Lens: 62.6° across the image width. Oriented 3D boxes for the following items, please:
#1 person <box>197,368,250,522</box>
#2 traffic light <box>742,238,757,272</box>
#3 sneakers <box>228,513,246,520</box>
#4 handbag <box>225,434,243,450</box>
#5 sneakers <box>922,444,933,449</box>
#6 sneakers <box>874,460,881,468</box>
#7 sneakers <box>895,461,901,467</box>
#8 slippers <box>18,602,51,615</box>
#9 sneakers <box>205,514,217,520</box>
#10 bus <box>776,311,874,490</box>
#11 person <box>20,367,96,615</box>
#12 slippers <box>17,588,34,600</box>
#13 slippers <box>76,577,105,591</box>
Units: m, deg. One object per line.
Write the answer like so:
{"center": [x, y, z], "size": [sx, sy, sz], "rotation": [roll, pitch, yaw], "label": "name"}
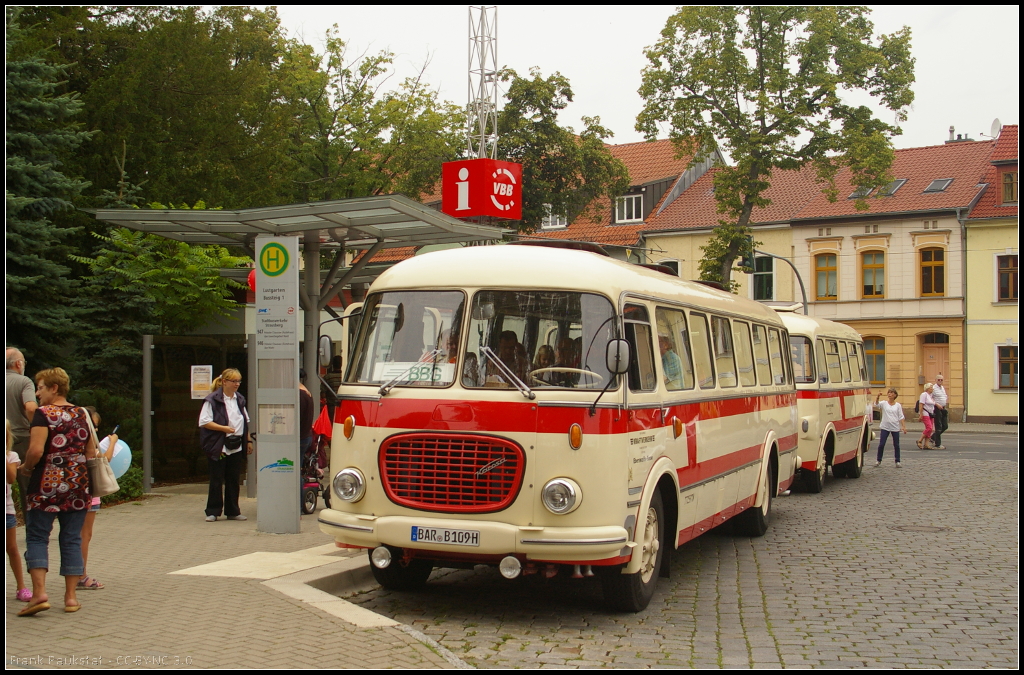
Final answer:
{"center": [-4.828, 1.809, 14.173], "size": [0.770, 2.152, 0.690], "rotation": [-3, 1, -19], "label": "person"}
{"center": [10.033, -3.486, 35.584], "size": [0.350, 1.460, 0.836], "rotation": [6, -4, -37], "label": "traffic light"}
{"center": [-4.637, 3.006, 14.122], "size": [0.290, 0.128, 0.107], "rotation": [1, -3, 6], "label": "sneakers"}
{"center": [-4.689, 1.765, 14.175], "size": [0.256, 0.230, 0.217], "rotation": [7, -15, -42], "label": "handbag"}
{"center": [16.040, 4.216, 32.419], "size": [0.206, 0.168, 0.332], "rotation": [-5, -1, -8], "label": "sneakers"}
{"center": [11.074, 3.847, 25.418], "size": [0.195, 0.260, 0.558], "rotation": [-3, -10, 25], "label": "sneakers"}
{"center": [11.522, 3.784, 24.980], "size": [0.119, 0.131, 0.118], "rotation": [0, -5, 2], "label": "sneakers"}
{"center": [-4.898, 2.793, 8.622], "size": [0.304, 0.097, 0.119], "rotation": [-9, -4, 19], "label": "slippers"}
{"center": [-4.990, 3.006, 13.998], "size": [0.206, 0.071, 0.247], "rotation": [-2, 0, -19], "label": "sneakers"}
{"center": [7.315, 1.598, 19.658], "size": [1.900, 2.450, 4.860], "rotation": [0, -2, 31], "label": "bus"}
{"center": [-4.825, 1.599, 8.910], "size": [0.754, 2.507, 0.690], "rotation": [-3, 1, -25], "label": "person"}
{"center": [-5.247, 2.766, 9.037], "size": [0.078, 0.084, 0.212], "rotation": [3, -9, -39], "label": "slippers"}
{"center": [-4.825, 2.823, 9.635], "size": [0.366, 0.153, 0.124], "rotation": [1, -3, 11], "label": "slippers"}
